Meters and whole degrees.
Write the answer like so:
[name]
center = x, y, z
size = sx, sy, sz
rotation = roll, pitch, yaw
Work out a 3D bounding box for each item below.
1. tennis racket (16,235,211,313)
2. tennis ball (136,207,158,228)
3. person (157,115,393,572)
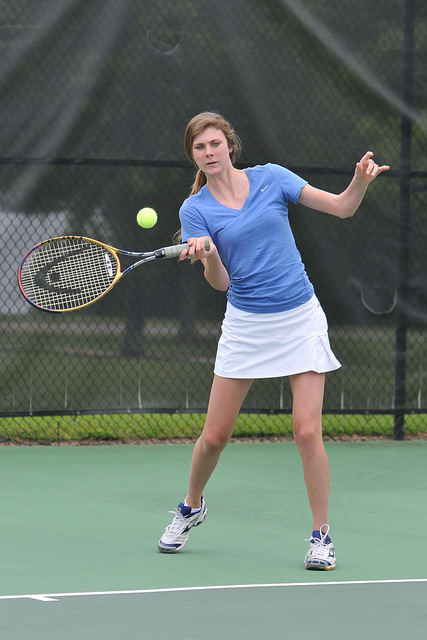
[tennis racket]
center = -0.351, -0.232, 2.730
size = 0.821, 0.295, 0.053
rotation = -15, 39, -11
[tennis ball]
center = -0.272, -0.441, 2.878
size = 0.098, 0.087, 0.091
rotation = 0, -19, 0
[person]
center = 0.171, 0.065, 2.194
size = 0.741, 1.444, 0.332
rotation = 0, -3, 23
